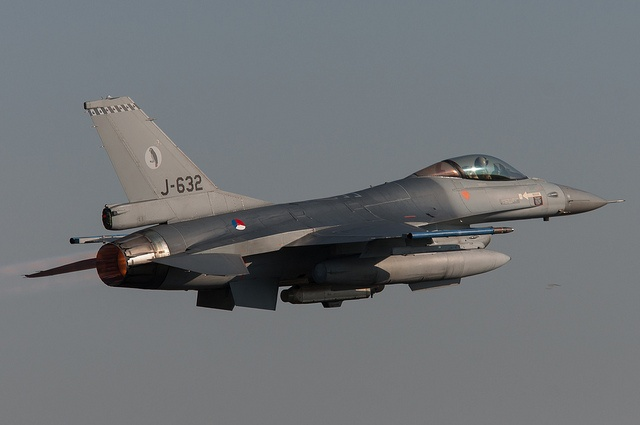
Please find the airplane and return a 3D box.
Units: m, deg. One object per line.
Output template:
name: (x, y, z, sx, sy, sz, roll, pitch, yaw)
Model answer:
airplane: (0.567, -0.176, 19.501, 9.578, 7.590, 3.011, -5, 91, -16)
